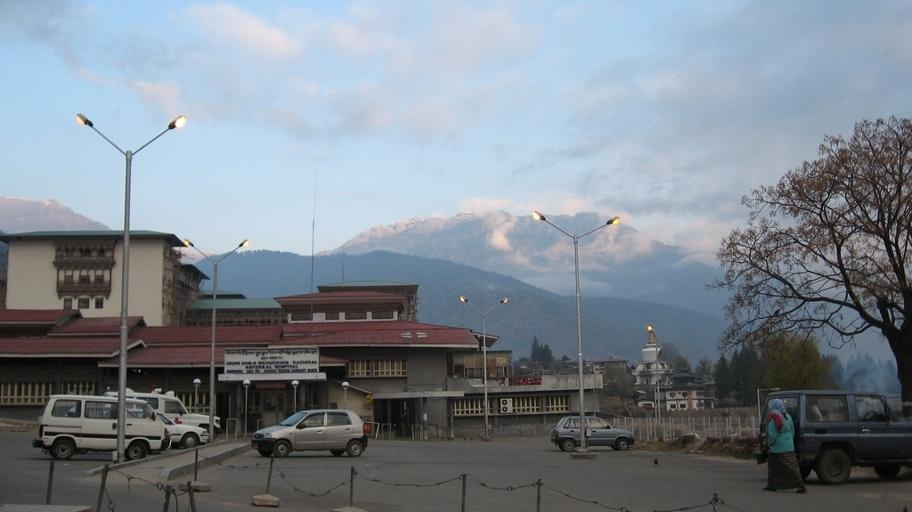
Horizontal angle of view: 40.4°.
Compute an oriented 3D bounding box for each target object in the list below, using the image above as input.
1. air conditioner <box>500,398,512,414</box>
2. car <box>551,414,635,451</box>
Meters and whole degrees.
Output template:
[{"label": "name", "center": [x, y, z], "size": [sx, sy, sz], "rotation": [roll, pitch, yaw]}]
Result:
[{"label": "air conditioner", "center": [5.893, 17.787, 147.039], "size": [1.851, 1.718, 0.928], "rotation": [0, -10, 0]}, {"label": "car", "center": [12.899, 16.853, 117.837], "size": [7.007, 3.462, 3.408], "rotation": [4, -13, -19]}]
